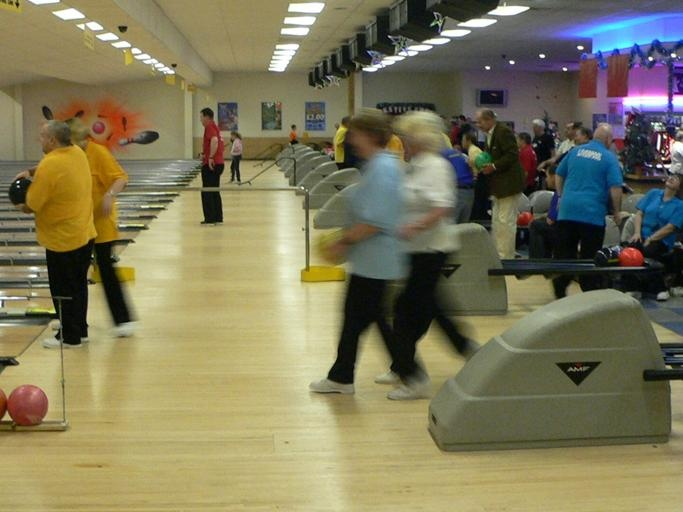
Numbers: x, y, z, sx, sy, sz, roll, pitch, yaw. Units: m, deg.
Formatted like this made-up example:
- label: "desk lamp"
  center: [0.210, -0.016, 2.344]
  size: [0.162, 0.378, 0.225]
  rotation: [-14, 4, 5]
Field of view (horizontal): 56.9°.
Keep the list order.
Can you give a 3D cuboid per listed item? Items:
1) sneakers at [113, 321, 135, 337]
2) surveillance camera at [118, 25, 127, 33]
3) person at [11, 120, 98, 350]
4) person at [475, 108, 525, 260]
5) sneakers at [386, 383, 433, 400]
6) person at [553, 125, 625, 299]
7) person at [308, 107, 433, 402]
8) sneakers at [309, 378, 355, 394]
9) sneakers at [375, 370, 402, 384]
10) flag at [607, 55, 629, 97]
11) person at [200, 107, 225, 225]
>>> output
- label: "sneakers"
  center: [-1.644, 0.565, 4.827]
  size: [0.144, 0.136, 0.086]
  rotation: [3, -6, -17]
- label: "surveillance camera"
  center: [-4.021, -4.263, 11.740]
  size: [0.120, 0.084, 0.153]
  rotation: [-1, -9, -6]
- label: "person"
  center: [-1.912, -0.131, 4.393]
  size: [0.400, 1.585, 0.214]
  rotation: [-5, 13, -22]
- label: "person"
  center: [1.786, -0.827, 6.885]
  size: [0.555, 1.544, 0.515]
  rotation: [-7, 14, -4]
- label: "sneakers"
  center: [0.414, 0.813, 3.820]
  size: [0.269, 0.104, 0.098]
  rotation: [2, -1, -5]
- label: "person"
  center: [2.218, -0.379, 5.778]
  size: [0.602, 1.646, 0.970]
  rotation: [5, 13, 22]
- label: "person"
  center: [0.181, 0.030, 3.617]
  size: [0.692, 1.683, 0.305]
  rotation: [-1, 12, -4]
- label: "sneakers"
  center: [-0.050, 0.779, 3.884]
  size: [0.269, 0.112, 0.104]
  rotation: [3, -2, 6]
- label: "sneakers"
  center: [0.299, 0.769, 4.029]
  size: [0.139, 0.054, 0.071]
  rotation: [2, 1, 7]
- label: "flag"
  center: [7.170, -4.742, 16.424]
  size: [0.376, 1.068, 0.946]
  rotation: [1, 12, 6]
- label: "person"
  center: [-2.100, -1.467, 10.296]
  size: [0.369, 1.864, 1.257]
  rotation: [-2, 12, -11]
